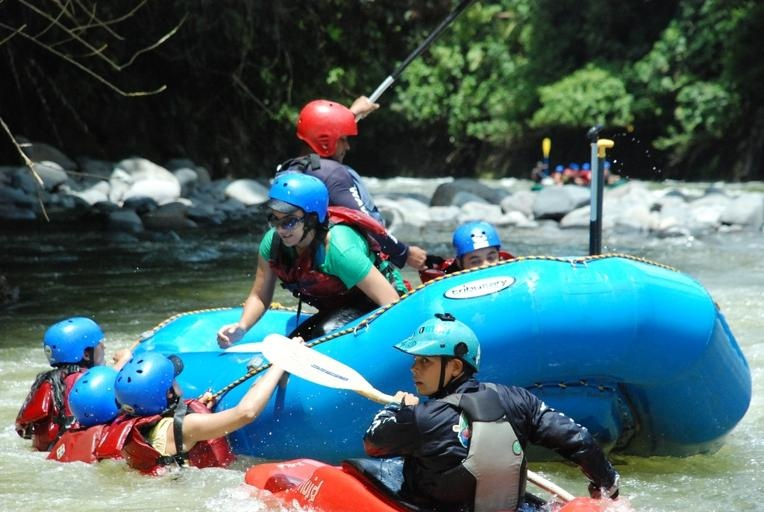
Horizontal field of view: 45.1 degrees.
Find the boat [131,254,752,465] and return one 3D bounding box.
[{"bbox_3d":[0.937,0.810,7.775,3.371,1.127,2.193,-3,-9,23],"label":"boat"}]

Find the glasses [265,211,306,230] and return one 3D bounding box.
[{"bbox_3d":[-0.827,-0.297,7.846,0.314,0.135,0.127,5,10,27],"label":"glasses"}]

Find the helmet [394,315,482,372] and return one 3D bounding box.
[{"bbox_3d":[0.452,0.671,7.082,0.549,0.324,0.391,7,-4,-5],"label":"helmet"}]

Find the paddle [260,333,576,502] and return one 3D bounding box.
[{"bbox_3d":[0.316,1.237,7.198,2.694,0.199,0.319,25,41,21],"label":"paddle"}]

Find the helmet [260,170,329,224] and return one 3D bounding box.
[{"bbox_3d":[-0.766,-0.521,7.961,0.500,0.368,0.368,7,2,-24],"label":"helmet"}]

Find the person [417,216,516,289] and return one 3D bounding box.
[{"bbox_3d":[0.716,0.049,8.742,0.558,0.398,0.785,-7,-22,-45],"label":"person"}]

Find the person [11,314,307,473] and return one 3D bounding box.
[{"bbox_3d":[-2.066,1.154,7.912,1.956,0.850,1.304,2,-4,-2],"label":"person"}]
